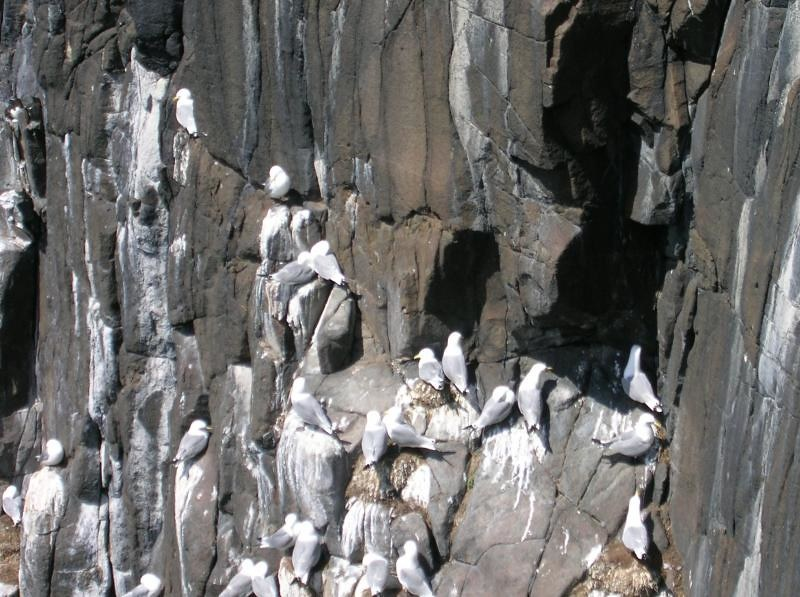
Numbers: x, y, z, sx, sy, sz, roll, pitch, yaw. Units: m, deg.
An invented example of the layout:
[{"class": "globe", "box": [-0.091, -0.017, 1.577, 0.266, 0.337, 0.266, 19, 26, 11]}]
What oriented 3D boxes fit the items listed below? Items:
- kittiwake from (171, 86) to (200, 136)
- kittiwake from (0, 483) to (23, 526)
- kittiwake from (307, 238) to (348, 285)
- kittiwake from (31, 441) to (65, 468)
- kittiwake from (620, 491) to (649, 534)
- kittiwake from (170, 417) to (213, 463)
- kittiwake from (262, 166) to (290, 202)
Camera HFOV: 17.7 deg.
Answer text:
[{"class": "kittiwake", "box": [-4.138, -3.806, 49.673, 0.462, 0.969, 0.353, 1, -1, -8]}, {"class": "kittiwake", "box": [-7.975, 4.275, 52.752, 0.278, 1.114, 0.485, -6, 14, -8]}, {"class": "kittiwake", "box": [-1.398, -0.732, 48.247, 0.387, 1.139, 0.702, -31, -9, 0]}, {"class": "kittiwake", "box": [-7.171, 3.226, 52.849, 0.514, 0.573, 0.401, 1, -1, -3]}, {"class": "kittiwake", "box": [4.186, 3.854, 45.766, 0.414, 0.694, 0.585, 1, -1, 6]}, {"class": "kittiwake", "box": [-4.018, 2.768, 49.622, 0.815, 0.946, 0.483, -14, 40, -22]}, {"class": "kittiwake", "box": [-2.328, -2.305, 48.523, 0.393, 0.682, 0.200, -6, -2, 38]}]
